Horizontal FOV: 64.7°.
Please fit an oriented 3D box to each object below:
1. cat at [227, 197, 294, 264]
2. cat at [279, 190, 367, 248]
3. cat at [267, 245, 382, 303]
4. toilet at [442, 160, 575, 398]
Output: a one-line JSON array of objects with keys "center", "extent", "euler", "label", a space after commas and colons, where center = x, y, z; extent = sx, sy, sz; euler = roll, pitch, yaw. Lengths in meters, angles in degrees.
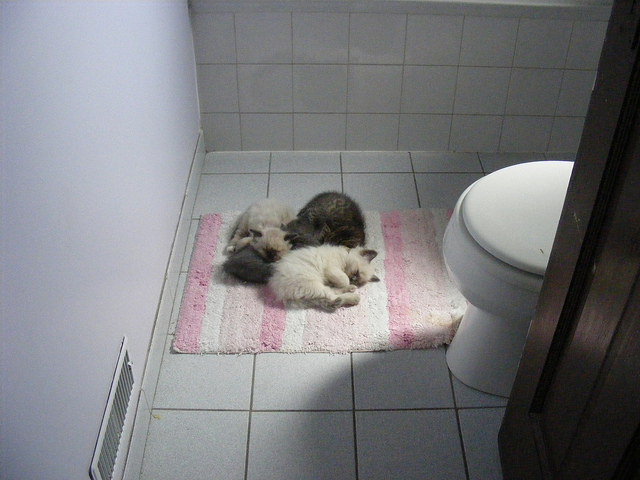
[{"center": [-0.237, -0.059, 2.109], "extent": [0.273, 0.148, 0.393], "euler": [2, 41, -12], "label": "cat"}, {"center": [0.022, -0.068, 2.099], "extent": [0.379, 0.150, 0.305], "euler": [-2, 39, -5], "label": "cat"}, {"center": [0.007, 0.130, 1.910], "extent": [0.449, 0.134, 0.275], "euler": [-8, 45, -12], "label": "cat"}, {"center": [0.485, 0.133, 1.475], "extent": [0.290, 0.701, 0.382], "euler": [13, 39, 13], "label": "toilet"}]
